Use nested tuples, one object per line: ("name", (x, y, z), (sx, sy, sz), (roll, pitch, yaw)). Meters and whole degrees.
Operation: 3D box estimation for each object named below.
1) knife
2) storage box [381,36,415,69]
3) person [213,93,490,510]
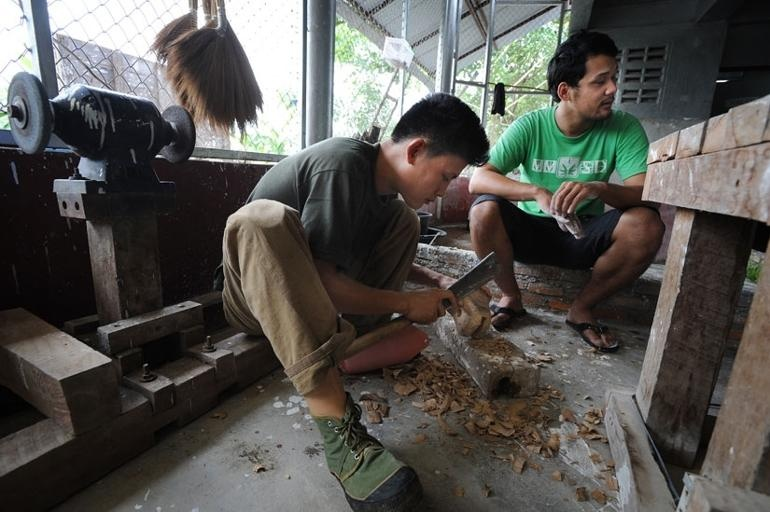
("knife", (0.173, 0.300, 2.708), (1.063, 0.136, 0.160), (-31, 25, -21))
("storage box", (0.144, -2.400, 5.668), (0.304, 0.377, 0.700), (1, 19, 0))
("person", (-0.132, 0.072, 2.432), (1.236, 1.699, 1.074), (14, 22, 35))
